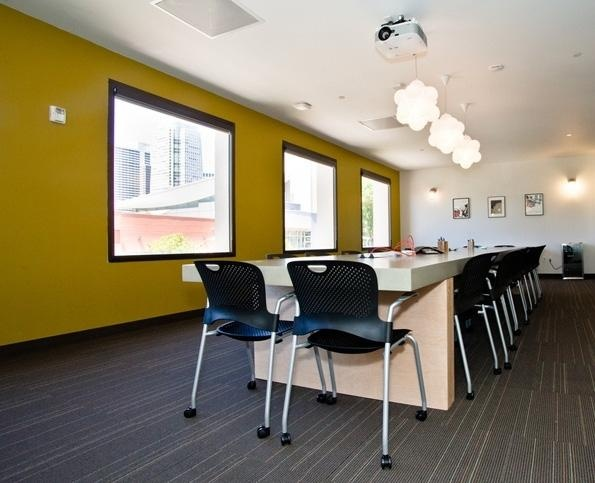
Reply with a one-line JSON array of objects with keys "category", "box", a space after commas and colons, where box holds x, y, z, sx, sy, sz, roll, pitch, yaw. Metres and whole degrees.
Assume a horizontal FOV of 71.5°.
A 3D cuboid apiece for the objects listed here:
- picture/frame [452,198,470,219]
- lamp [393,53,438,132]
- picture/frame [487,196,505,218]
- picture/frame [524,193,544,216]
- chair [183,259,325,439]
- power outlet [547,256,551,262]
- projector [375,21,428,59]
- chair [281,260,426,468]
[{"category": "picture/frame", "box": [4.091, -0.814, 10.370, 0.469, 0.674, 0.022, -1, -3, 43]}, {"category": "lamp", "box": [1.126, -1.301, 3.913, 0.409, 0.440, 0.309, 0, 4, 10]}, {"category": "picture/frame", "box": [4.778, -0.823, 9.975, 0.470, 0.711, 0.027, -2, -6, 43]}, {"category": "picture/frame", "box": [5.468, -0.850, 9.581, 0.483, 0.762, 0.030, 0, -2, 41]}, {"category": "chair", "box": [-0.226, 0.581, 2.777, 0.802, 1.271, 0.914, -2, -3, 31]}, {"category": "power outlet", "box": [5.723, 0.416, 9.457, 0.096, 0.106, 0.067, 5, 11, 43]}, {"category": "projector", "box": [0.930, -1.793, 3.710, 0.384, 0.187, 0.443, 1, 4, 29]}, {"category": "chair", "box": [0.310, 0.604, 2.420, 0.750, 1.066, 0.749, -1, 2, 35]}]
